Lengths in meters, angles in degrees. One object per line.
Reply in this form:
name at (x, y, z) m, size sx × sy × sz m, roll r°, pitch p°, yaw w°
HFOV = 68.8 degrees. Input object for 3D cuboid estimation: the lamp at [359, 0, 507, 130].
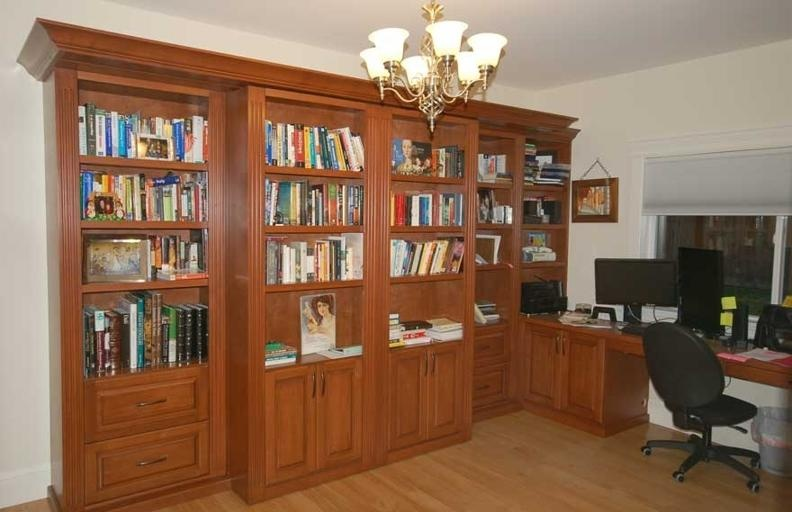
lamp at (0.214, -1.522, 4.542) m, size 0.952 × 1.013 × 1.599 m, roll -1°, pitch 13°, yaw -3°

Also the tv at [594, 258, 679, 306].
tv at (2.416, 0.278, 5.836) m, size 0.824 × 0.501 × 0.188 m, roll 1°, pitch 0°, yaw 3°

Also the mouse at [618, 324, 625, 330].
mouse at (2.293, 0.724, 5.886) m, size 0.046 × 0.025 × 0.082 m, roll 7°, pitch 12°, yaw 35°

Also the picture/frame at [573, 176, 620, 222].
picture/frame at (2.171, -0.617, 6.334) m, size 0.555 × 0.467 × 0.027 m, roll -3°, pitch 6°, yaw -10°

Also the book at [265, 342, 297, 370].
book at (-0.981, 0.837, 4.860) m, size 0.220 × 0.068 × 0.215 m, roll -1°, pitch 4°, yaw -24°

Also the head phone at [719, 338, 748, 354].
head phone at (3.071, 0.816, 5.237) m, size 0.134 × 0.080 × 0.180 m, roll 1°, pitch 1°, yaw -30°

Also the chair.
chair at (2.827, 1.281, 5.227) m, size 1.046 × 1.270 × 1.008 m, roll 0°, pitch 2°, yaw -1°
